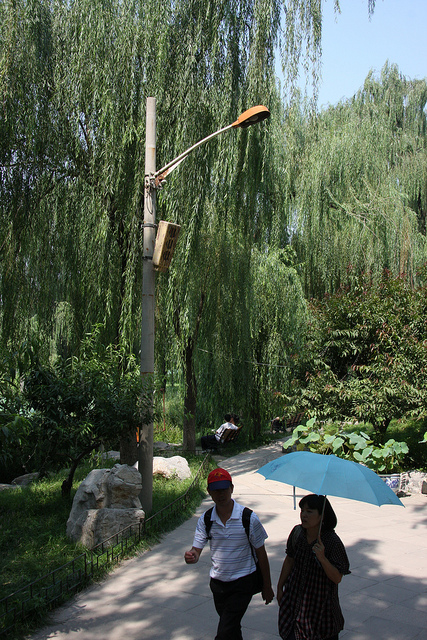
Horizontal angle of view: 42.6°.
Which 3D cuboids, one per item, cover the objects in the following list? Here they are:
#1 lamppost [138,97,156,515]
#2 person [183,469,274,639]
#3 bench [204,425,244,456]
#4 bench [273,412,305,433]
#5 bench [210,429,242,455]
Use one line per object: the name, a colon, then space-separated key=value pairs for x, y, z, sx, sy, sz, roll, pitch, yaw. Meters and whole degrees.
lamppost: x=-0.846 y=-0.307 z=7.144 sx=0.187 sy=5.496 sz=0.435 roll=1 pitch=-5 yaw=-8
person: x=0.086 y=1.325 z=3.068 sx=0.495 sy=0.961 sz=0.277 roll=1 pitch=-5 yaw=-6
bench: x=0.258 y=2.941 z=13.598 sx=0.663 sy=0.553 sz=1.193 roll=-4 pitch=-9 yaw=38
bench: x=2.500 y=3.563 z=18.701 sx=0.824 sy=0.660 sz=2.622 roll=-1 pitch=-8 yaw=16
bench: x=0.281 y=3.061 z=13.742 sx=0.659 sy=0.676 sz=1.279 roll=-1 pitch=-7 yaw=14
